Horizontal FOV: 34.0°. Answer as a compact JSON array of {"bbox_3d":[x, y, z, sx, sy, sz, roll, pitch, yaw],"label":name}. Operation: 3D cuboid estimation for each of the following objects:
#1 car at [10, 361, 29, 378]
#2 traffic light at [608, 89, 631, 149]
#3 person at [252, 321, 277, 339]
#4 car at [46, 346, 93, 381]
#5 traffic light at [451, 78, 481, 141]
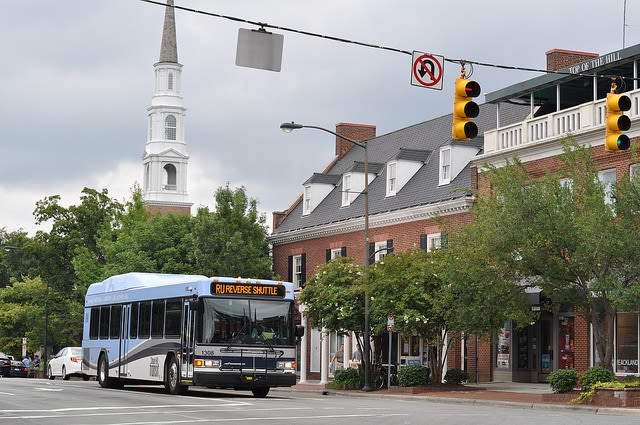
[{"bbox_3d":[-21.438,11.111,74.656,1.168,1.131,1.959,2,-14,-11],"label":"car"},{"bbox_3d":[9.476,-3.005,33.220,0.713,1.987,0.692,-1,-14,2],"label":"traffic light"},{"bbox_3d":[-2.349,4.628,41.259,0.741,0.635,0.189,3,-11,-18],"label":"person"},{"bbox_3d":[-14.673,9.212,62.041,2.624,1.814,5.518,2,-3,-25],"label":"car"},{"bbox_3d":[4.554,-3.134,32.252,0.681,1.680,0.661,9,16,14],"label":"traffic light"}]
